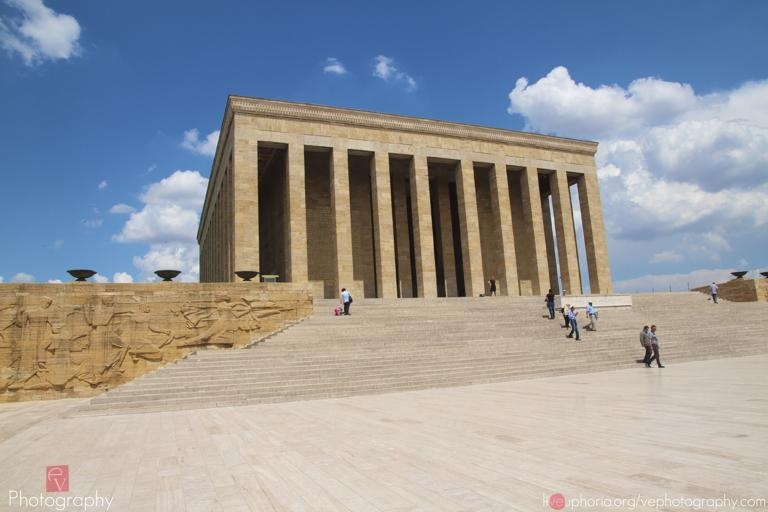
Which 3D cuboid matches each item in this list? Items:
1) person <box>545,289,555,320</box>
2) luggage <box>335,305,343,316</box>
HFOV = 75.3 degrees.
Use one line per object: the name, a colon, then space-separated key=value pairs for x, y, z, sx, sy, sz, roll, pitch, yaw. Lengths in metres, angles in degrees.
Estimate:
person: x=6.391 y=1.869 z=19.082 sx=0.347 sy=0.977 sz=0.801 roll=7 pitch=10 yaw=19
luggage: x=-1.607 y=1.961 z=17.505 sx=0.256 sy=0.267 sz=0.251 roll=-1 pitch=-6 yaw=2
